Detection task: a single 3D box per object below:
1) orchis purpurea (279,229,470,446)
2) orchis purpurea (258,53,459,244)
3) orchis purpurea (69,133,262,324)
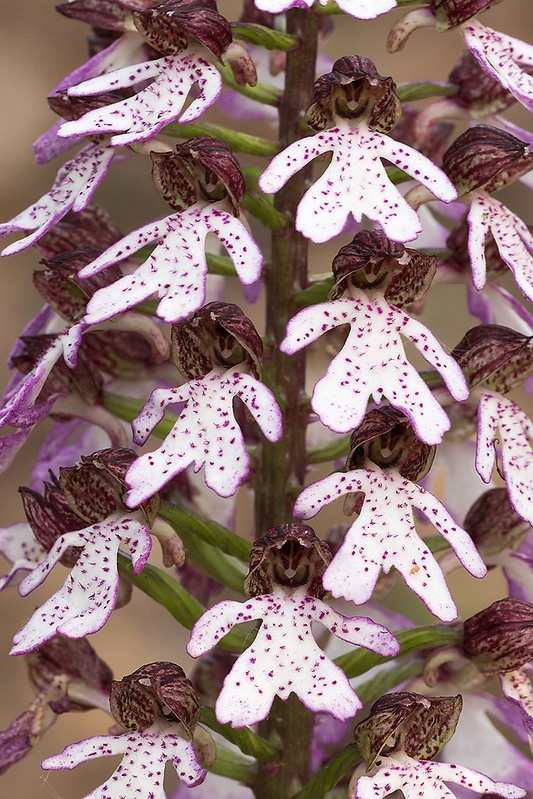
[{"bbox_3d":[0.074,-0.057,0.547,0.130,0.046,0.154,5,49,-7],"label":"orchis purpurea"},{"bbox_3d":[0.063,-0.171,0.535,0.146,0.048,0.161,-3,40,-4],"label":"orchis purpurea"},{"bbox_3d":[-0.075,-0.122,0.570,0.127,0.080,0.164,-13,30,2],"label":"orchis purpurea"}]
